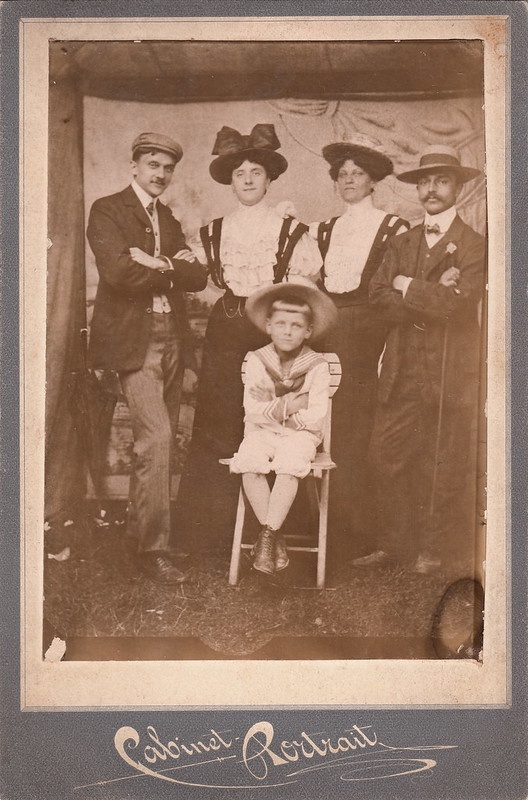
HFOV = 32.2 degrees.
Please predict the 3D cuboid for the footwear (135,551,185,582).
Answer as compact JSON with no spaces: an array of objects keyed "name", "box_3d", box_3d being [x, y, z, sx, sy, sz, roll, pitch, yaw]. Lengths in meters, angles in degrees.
[{"name":"footwear","box_3d":[-0.327,0.543,2.939,0.194,0.063,0.080,21,-21,1]}]
